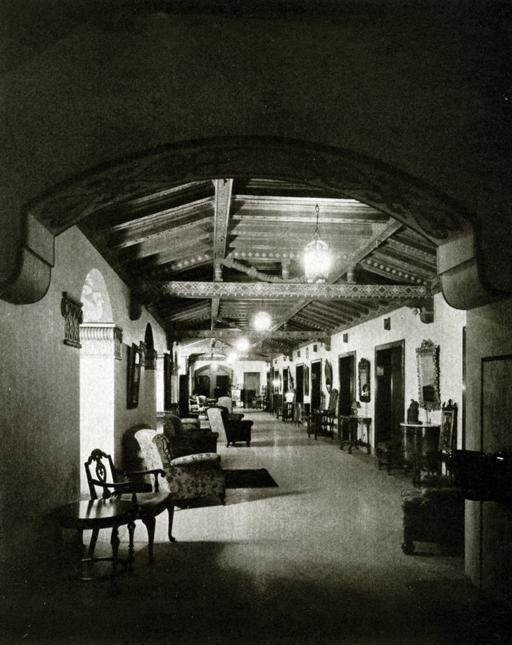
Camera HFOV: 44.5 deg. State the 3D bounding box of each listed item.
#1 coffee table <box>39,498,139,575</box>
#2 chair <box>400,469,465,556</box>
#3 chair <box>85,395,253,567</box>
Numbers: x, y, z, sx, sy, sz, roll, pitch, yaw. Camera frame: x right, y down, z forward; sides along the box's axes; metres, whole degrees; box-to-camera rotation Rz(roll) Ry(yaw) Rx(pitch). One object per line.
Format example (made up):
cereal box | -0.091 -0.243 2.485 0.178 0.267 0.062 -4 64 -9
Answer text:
coffee table | -1.051 1.336 3.927 0.410 0.380 0.462 -3 -6 27
chair | 1.290 1.451 4.595 0.454 0.448 0.478 0 -7 10
chair | -0.740 1.363 5.318 1.076 1.556 1.125 0 -4 -26
